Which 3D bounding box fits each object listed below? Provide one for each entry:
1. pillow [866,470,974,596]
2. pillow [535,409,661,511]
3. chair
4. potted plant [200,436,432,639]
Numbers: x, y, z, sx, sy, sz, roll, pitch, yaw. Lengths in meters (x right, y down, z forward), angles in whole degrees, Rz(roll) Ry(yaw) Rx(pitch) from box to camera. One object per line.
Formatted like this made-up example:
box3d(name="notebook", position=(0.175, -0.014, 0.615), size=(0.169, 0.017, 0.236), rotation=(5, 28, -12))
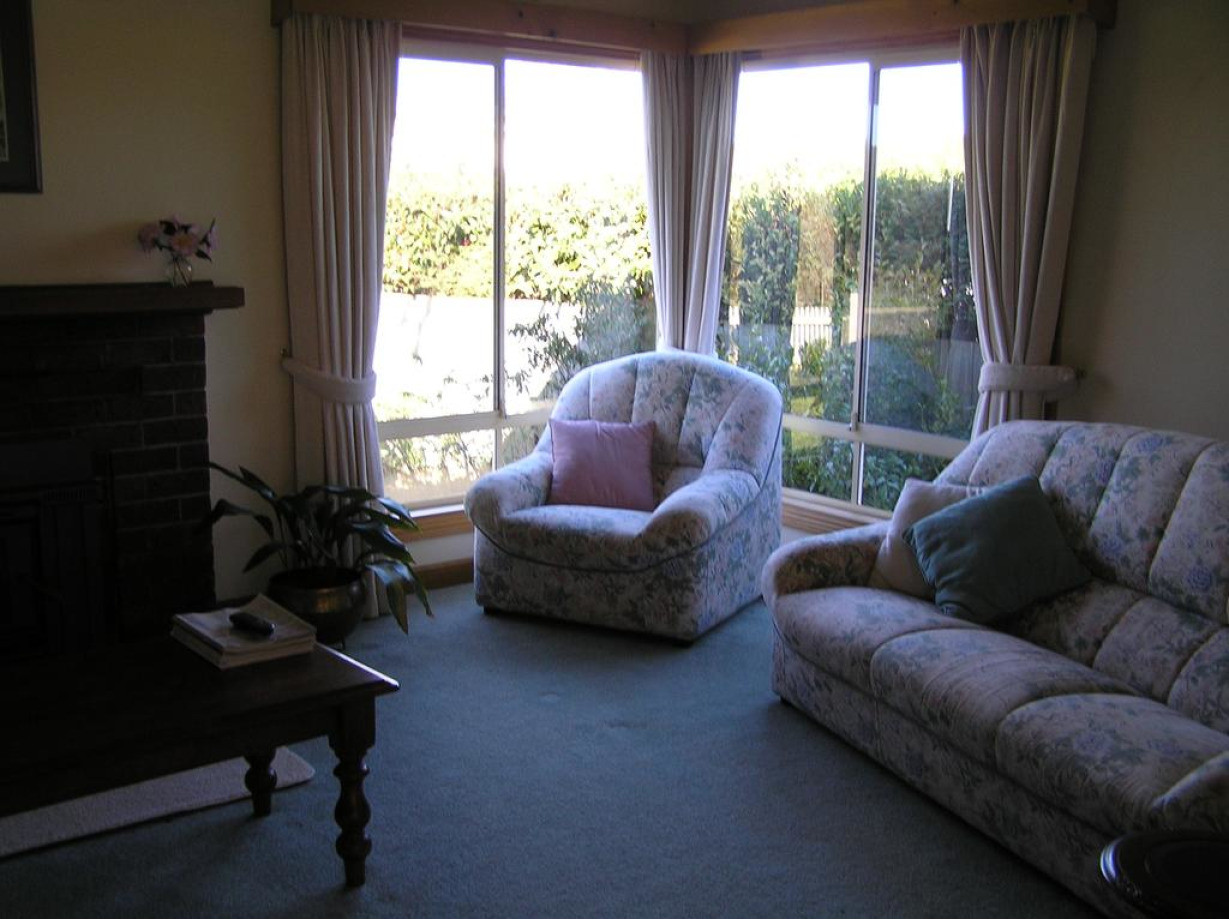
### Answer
box3d(name="pillow", position=(1.124, 0.284, 3.485), size=(0.152, 0.396, 0.346), rotation=(15, 2, -31))
box3d(name="pillow", position=(-0.055, 0.023, 4.294), size=(0.377, 0.387, 0.143), rotation=(0, -12, 3))
box3d(name="chair", position=(0.110, 0.175, 4.347), size=(1.233, 1.342, 1.208), rotation=(3, 6, 27))
box3d(name="potted plant", position=(-1.203, 0.404, 3.972), size=(0.791, 0.476, 0.737), rotation=(2, 8, -10))
